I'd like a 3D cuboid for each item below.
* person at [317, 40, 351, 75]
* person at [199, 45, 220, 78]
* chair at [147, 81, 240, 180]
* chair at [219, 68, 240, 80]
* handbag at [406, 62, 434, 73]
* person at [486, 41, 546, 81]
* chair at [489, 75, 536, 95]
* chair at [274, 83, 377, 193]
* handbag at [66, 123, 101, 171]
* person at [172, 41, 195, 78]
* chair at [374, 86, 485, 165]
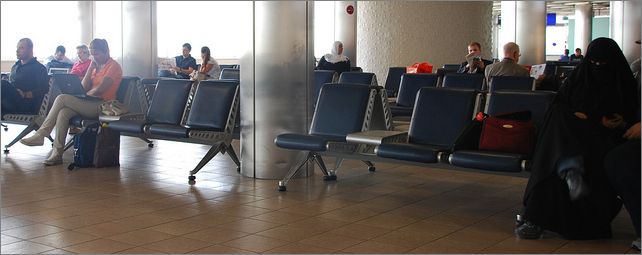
[{"bbox_3d":[0.637,-2.482,13.856,1.591,1.105,0.771,9,42,34],"label":"person"},{"bbox_3d":[-3.701,-2.151,12.878,0.598,1.006,0.878,-5,15,-14],"label":"person"},{"bbox_3d":[-2.397,0.010,8.091,1.432,1.907,1.055,-10,18,-33],"label":"chair"},{"bbox_3d":[-2.438,-1.444,10.448,0.485,0.243,0.509,-1,12,-3],"label":"chair"},{"bbox_3d":[2.905,-1.747,11.554,0.867,0.222,0.782,-3,5,-31],"label":"handbag"},{"bbox_3d":[4.670,-1.514,9.512,0.798,0.943,1.218,-21,15,-16],"label":"person"},{"bbox_3d":[4.059,-0.893,8.266,0.779,0.360,0.345,1,-7,31],"label":"chair"},{"bbox_3d":[0.116,0.121,7.584,1.895,1.885,1.049,0,15,3],"label":"chair"},{"bbox_3d":[-5.024,0.389,8.285,0.726,0.918,0.354,-7,17,-21],"label":"handbag"},{"bbox_3d":[-5.038,-2.492,14.443,0.762,1.205,2.174,-5,13,-16],"label":"person"},{"bbox_3d":[1.920,-0.061,7.104,1.341,0.880,1.652,10,26,36],"label":"chair"}]
